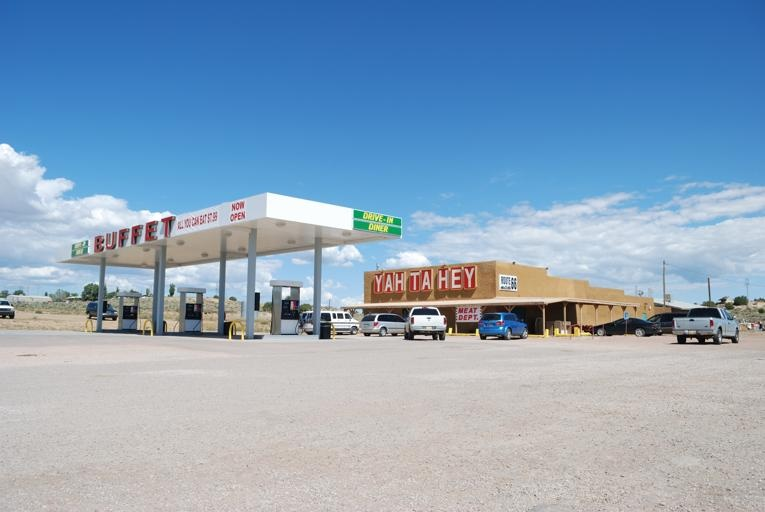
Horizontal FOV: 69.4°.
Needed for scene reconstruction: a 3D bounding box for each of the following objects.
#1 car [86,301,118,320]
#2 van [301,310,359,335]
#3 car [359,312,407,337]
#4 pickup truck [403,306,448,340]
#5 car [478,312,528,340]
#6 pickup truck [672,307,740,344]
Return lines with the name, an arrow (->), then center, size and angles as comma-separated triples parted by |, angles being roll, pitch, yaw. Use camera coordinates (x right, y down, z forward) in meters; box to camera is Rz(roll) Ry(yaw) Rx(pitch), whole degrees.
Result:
car -> -32.335, 6.354, 64.099 | 2.988, 2.404, 5.733 | 2, -3, -25
van -> -4.417, 6.028, 48.783 | 4.473, 1.624, 2.271 | 1, -5, -25
car -> 0.059, 5.752, 46.150 | 2.487, 1.754, 3.471 | -1, -3, 27
pickup truck -> 2.844, 4.551, 36.810 | 2.374, 2.185, 4.100 | 0, -2, 0
car -> 8.645, 5.013, 39.251 | 2.128, 1.918, 3.440 | -1, -3, 36
pickup truck -> 19.169, 4.118, 32.489 | 2.182, 1.438, 4.661 | -4, -6, 43
